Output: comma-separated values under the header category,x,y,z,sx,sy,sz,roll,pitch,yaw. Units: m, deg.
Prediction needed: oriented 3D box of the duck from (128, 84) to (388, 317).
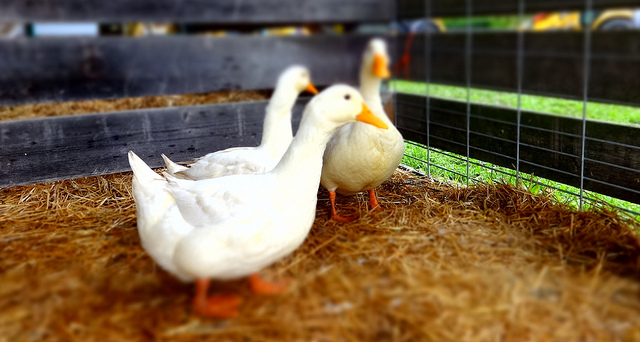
category,x,y,z,sx,sy,sz,roll,pitch,yaw
duck,-0.475,0.171,3.458,1.889,1.378,0.834,-2,6,10
